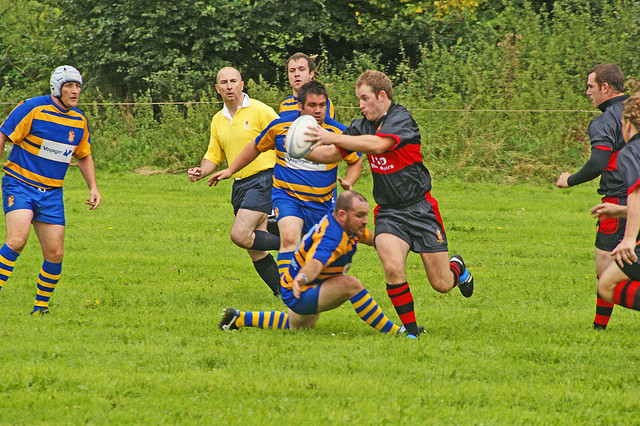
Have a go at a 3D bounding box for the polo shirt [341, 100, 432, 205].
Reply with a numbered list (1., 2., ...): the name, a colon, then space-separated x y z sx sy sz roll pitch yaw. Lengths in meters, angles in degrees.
1. polo shirt: 0.901 -0.722 10.742 1.046 1.259 1.215 -14 9 -33

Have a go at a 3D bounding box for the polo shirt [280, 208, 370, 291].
1. polo shirt: 0.015 0.514 10.126 0.924 1.002 0.464 0 6 0

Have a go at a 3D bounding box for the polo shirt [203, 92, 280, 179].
1. polo shirt: -1.064 -1.117 12.059 1.592 1.232 0.624 -7 0 27
